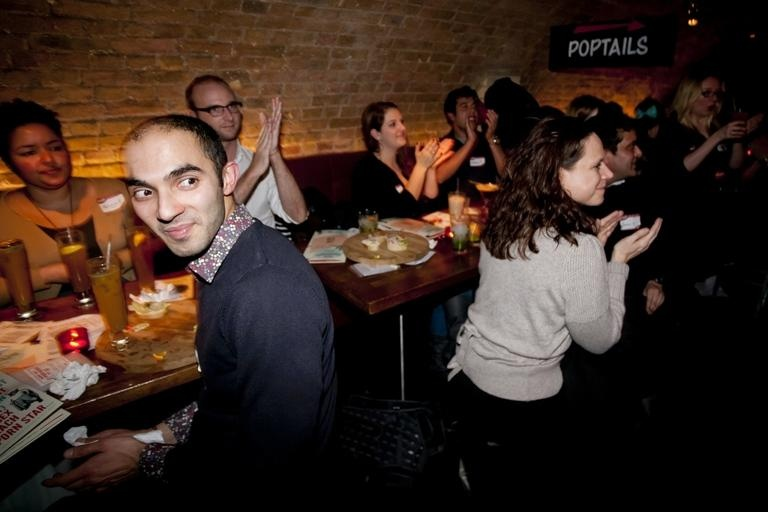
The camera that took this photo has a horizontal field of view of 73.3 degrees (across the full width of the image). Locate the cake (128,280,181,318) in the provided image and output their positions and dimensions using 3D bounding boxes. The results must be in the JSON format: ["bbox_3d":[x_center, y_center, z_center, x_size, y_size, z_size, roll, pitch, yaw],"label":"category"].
[{"bbox_3d":[-1.246,0.233,2.769,0.204,0.075,0.208,18,26,38],"label":"cake"}]

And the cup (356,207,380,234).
[{"bbox_3d":[-0.110,-0.243,3.602,0.168,0.161,0.155,1,13,0],"label":"cup"}]
